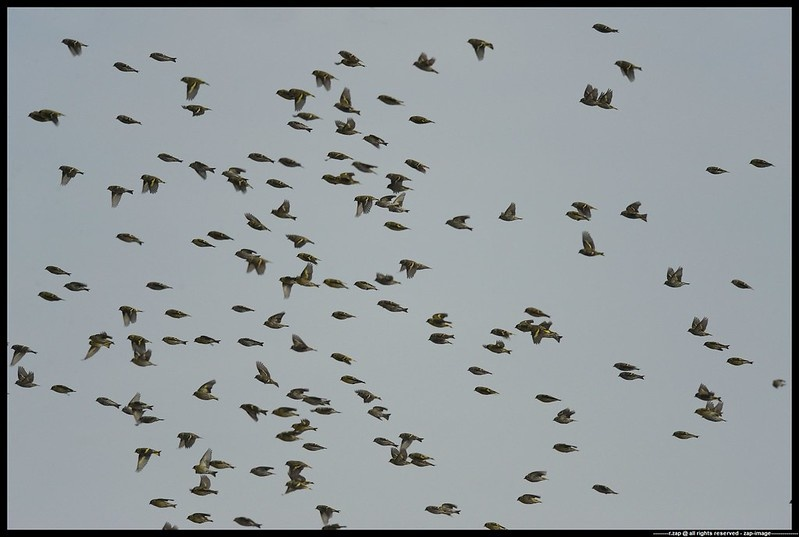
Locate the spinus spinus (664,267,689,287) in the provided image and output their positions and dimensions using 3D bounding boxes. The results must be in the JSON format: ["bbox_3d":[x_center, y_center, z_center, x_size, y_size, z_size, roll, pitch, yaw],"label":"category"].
[{"bbox_3d":[2.648,0.095,17.886,0.174,0.137,0.254,9,-76,-5],"label":"spinus spinus"}]
